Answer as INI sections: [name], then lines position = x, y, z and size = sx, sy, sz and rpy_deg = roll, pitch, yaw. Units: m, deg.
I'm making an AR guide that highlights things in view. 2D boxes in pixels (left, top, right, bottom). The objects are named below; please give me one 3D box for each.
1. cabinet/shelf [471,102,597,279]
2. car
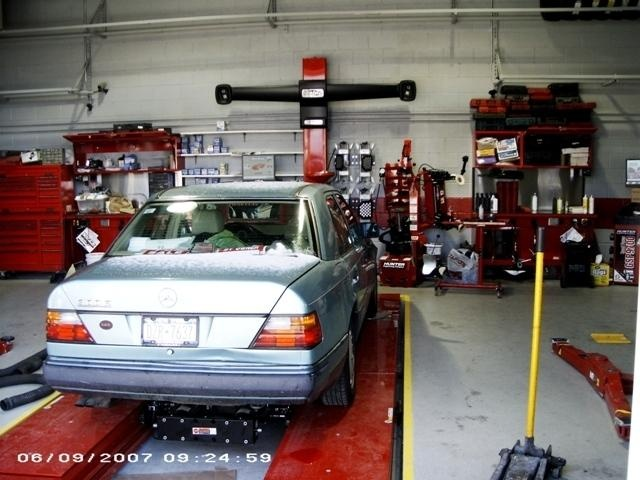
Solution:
[cabinet/shelf]
position = 3.210, -0.773, 8.421
size = 1.907, 2.747, 1.350
rpy_deg = 4, 13, 13
[car]
position = -0.566, 0.114, 4.951
size = 2.015, 1.242, 3.761
rpy_deg = 1, 11, 13
